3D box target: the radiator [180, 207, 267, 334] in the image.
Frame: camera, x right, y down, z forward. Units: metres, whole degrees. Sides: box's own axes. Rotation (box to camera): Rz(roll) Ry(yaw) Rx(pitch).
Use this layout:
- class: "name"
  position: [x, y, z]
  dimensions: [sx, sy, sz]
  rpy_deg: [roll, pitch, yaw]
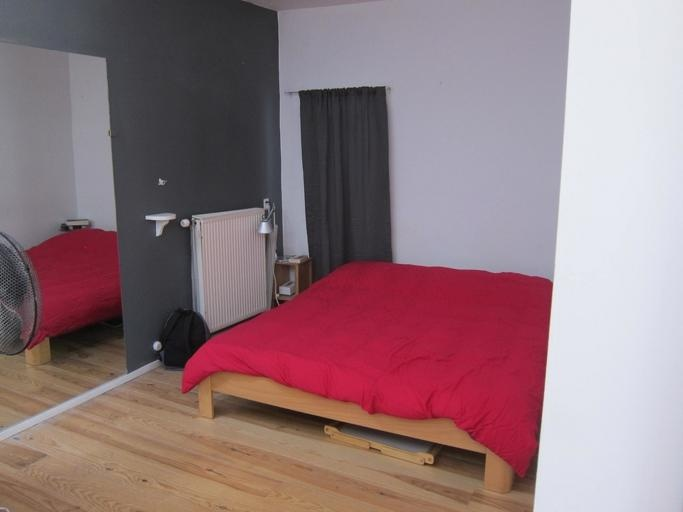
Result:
- class: "radiator"
  position: [-0.891, 0.095, 3.854]
  dimensions: [0.126, 0.845, 0.889]
  rpy_deg: [2, 7, 22]

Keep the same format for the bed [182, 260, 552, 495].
- class: "bed"
  position: [0.359, 0.491, 3.176]
  dimensions: [1.651, 0.433, 1.700]
  rpy_deg: [6, 14, 23]

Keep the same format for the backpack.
- class: "backpack"
  position: [-1.084, 0.580, 3.746]
  dimensions: [0.324, 0.443, 0.426]
  rpy_deg: [12, -4, -16]

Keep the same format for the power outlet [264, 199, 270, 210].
- class: "power outlet"
  position: [-0.644, -0.451, 4.525]
  dimensions: [0.031, 0.084, 0.089]
  rpy_deg: [3, 8, 20]
